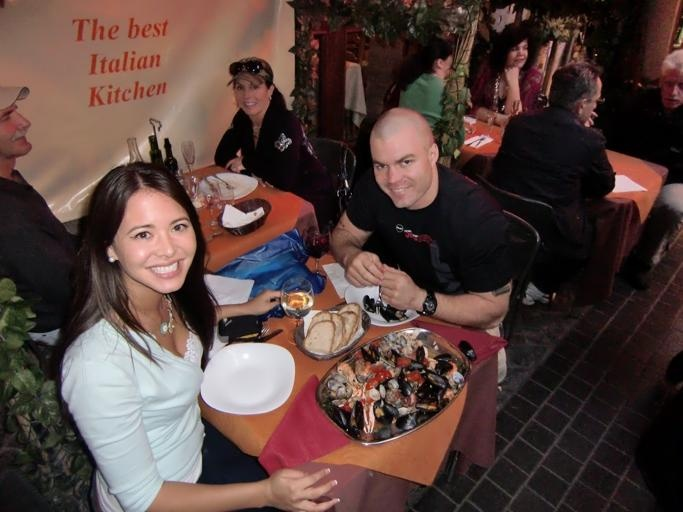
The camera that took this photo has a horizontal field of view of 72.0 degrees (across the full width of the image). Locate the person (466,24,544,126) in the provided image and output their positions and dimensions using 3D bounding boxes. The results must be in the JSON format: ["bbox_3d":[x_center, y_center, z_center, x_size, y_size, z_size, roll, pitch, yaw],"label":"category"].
[{"bbox_3d":[1.896,-2.047,5.309,0.696,1.047,0.710,15,55,15],"label":"person"}]

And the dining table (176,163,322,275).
[{"bbox_3d":[-0.585,-0.254,3.190,0.774,0.290,0.787,39,52,21],"label":"dining table"}]

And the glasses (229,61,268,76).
[{"bbox_3d":[-0.754,-1.534,3.776,0.156,0.058,0.169,0,10,2],"label":"glasses"}]

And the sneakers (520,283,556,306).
[{"bbox_3d":[1.768,0.332,4.238,0.120,0.156,0.350,-22,23,-21],"label":"sneakers"}]

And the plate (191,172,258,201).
[{"bbox_3d":[-0.824,-0.538,3.508,0.285,0.041,0.300,8,32,10],"label":"plate"}]

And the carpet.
[{"bbox_3d":[1.657,0.747,3.993,0.522,0.023,1.661,14,39,38],"label":"carpet"}]

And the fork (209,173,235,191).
[{"bbox_3d":[-0.891,-0.568,3.533,0.270,0.040,0.038,37,33,28],"label":"fork"}]

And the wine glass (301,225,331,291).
[{"bbox_3d":[-0.134,0.013,2.816,0.154,0.375,0.154,-7,21,-25],"label":"wine glass"}]

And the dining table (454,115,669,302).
[{"bbox_3d":[2.367,-0.490,4.545,1.192,0.765,1.475,31,42,33],"label":"dining table"}]

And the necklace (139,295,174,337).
[{"bbox_3d":[-0.850,0.295,2.213,0.102,0.143,0.041,-10,-20,35],"label":"necklace"}]

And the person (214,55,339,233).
[{"bbox_3d":[-0.586,-0.973,4.167,0.867,1.470,0.954,-22,36,-29],"label":"person"}]

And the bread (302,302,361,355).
[{"bbox_3d":[-0.034,0.355,2.343,0.173,0.070,0.268,21,43,14],"label":"bread"}]
